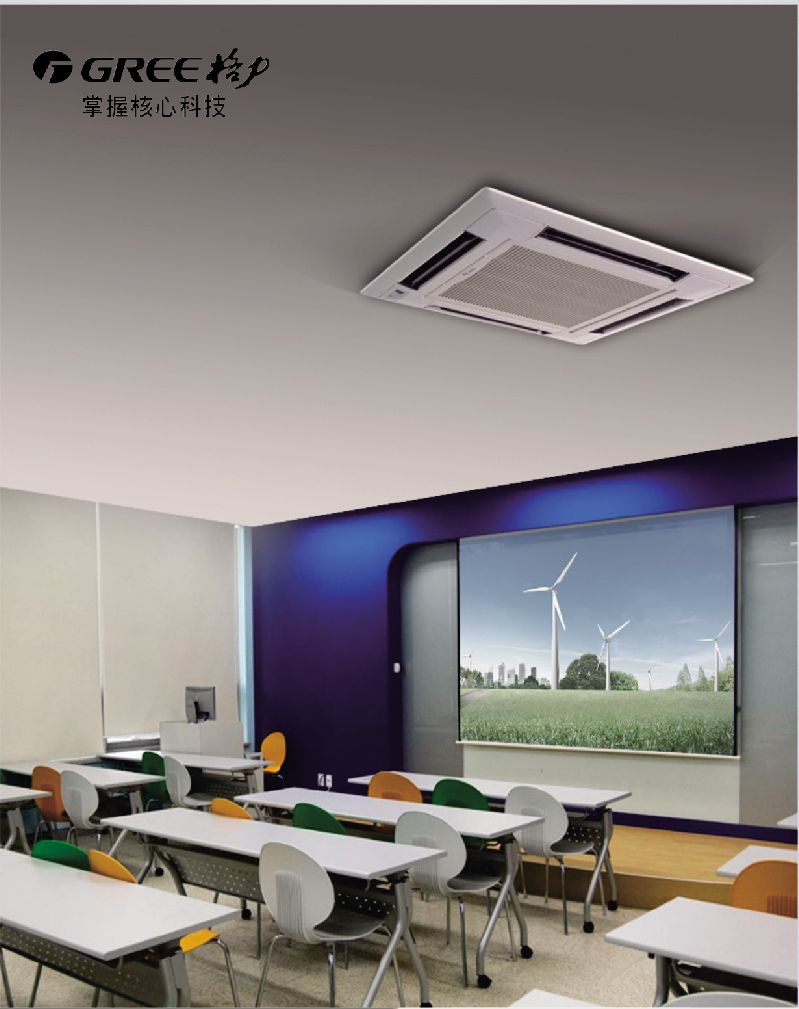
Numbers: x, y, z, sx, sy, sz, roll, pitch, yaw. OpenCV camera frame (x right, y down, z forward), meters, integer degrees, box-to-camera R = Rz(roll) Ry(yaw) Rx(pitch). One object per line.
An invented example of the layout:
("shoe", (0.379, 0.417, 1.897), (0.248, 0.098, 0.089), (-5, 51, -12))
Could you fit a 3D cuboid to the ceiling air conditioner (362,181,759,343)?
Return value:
("ceiling air conditioner", (0.529, -0.837, 3.072), (1.273, 0.076, 0.840), (3, -10, -36))
